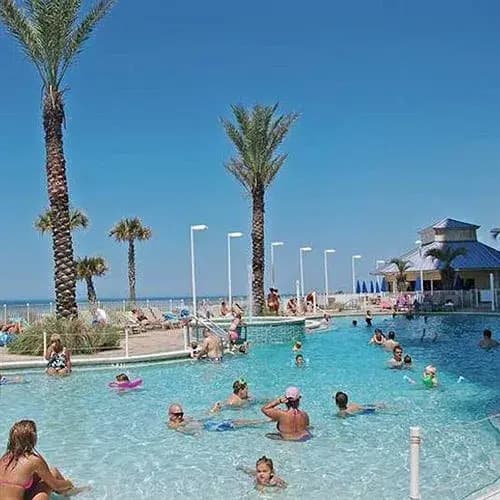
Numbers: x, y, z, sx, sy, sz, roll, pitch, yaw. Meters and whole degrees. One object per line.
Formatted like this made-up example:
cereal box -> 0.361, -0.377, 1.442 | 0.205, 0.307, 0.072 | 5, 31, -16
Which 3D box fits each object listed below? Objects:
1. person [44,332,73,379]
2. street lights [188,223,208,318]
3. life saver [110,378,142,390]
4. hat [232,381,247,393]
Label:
person -> -5.033, 2.798, 13.845 | 0.677, 1.704, 0.977 | 1, -26, -17
street lights -> -1.705, 0.690, 18.522 | 0.876, 3.280, 0.547 | 0, 9, -3
life saver -> -2.799, 3.031, 11.985 | 0.685, 0.204, 0.488 | -3, -2, -19
hat -> -0.248, 2.768, 10.850 | 0.227, 0.274, 0.194 | 1, -6, -20
